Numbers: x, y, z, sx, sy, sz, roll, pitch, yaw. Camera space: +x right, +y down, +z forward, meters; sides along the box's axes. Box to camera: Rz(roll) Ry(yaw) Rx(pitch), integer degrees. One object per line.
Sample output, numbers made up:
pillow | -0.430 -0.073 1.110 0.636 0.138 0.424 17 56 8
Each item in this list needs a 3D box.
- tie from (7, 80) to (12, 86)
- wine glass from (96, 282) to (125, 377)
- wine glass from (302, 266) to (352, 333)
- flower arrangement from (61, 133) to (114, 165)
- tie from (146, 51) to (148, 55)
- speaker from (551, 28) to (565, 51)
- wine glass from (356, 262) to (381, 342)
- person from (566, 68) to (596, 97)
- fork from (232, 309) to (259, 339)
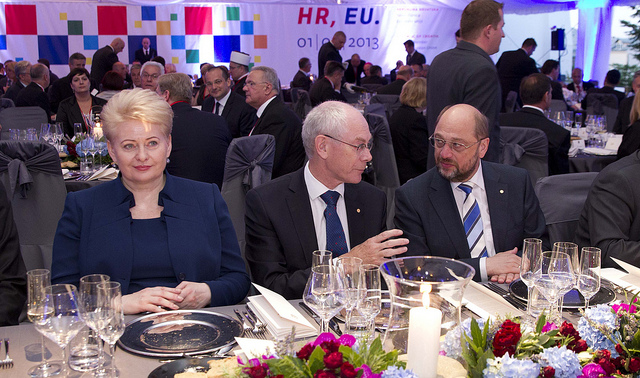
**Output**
tie | -7.047 -2.423 10.779 0.034 0.110 0.116 -19 -12 28
wine glass | -0.766 0.510 1.749 0.088 0.326 0.131 -7 14 -37
wine glass | 0.034 0.402 1.834 0.179 0.213 0.075 1 11 -3
flower arrangement | -2.325 -0.351 4.722 0.529 0.296 0.528 1 2 -40
tie | -4.525 -3.547 12.429 0.031 0.123 0.018 -3 8 23
speaker | 6.507 -4.076 12.932 0.326 0.537 0.290 -4 12 -25
wine glass | 0.188 0.437 1.837 0.089 0.300 0.223 2 10 6
person | 6.247 -2.490 11.372 0.711 0.650 0.373 0 8 35
fork | -0.327 0.576 2.042 0.043 0.032 0.280 -5 4 -22
